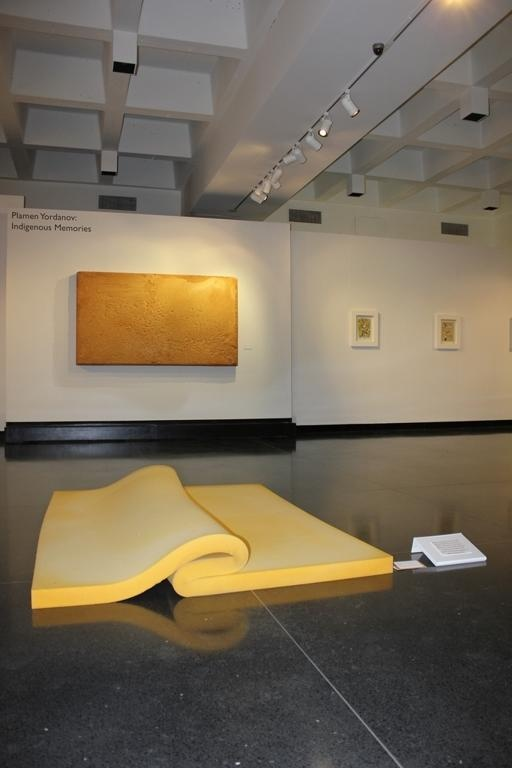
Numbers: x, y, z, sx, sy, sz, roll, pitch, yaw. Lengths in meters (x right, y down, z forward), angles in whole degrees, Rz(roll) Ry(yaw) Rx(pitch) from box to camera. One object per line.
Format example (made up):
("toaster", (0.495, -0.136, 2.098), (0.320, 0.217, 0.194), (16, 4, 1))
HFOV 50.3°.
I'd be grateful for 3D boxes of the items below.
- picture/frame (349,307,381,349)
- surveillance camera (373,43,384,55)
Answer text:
("picture/frame", (1.921, -1.005, 9.727), (0.703, 0.871, 0.084), (-1, 2, -27))
("surveillance camera", (1.042, -2.828, 4.626), (0.064, 0.086, 0.085), (-2, -5, 10))
